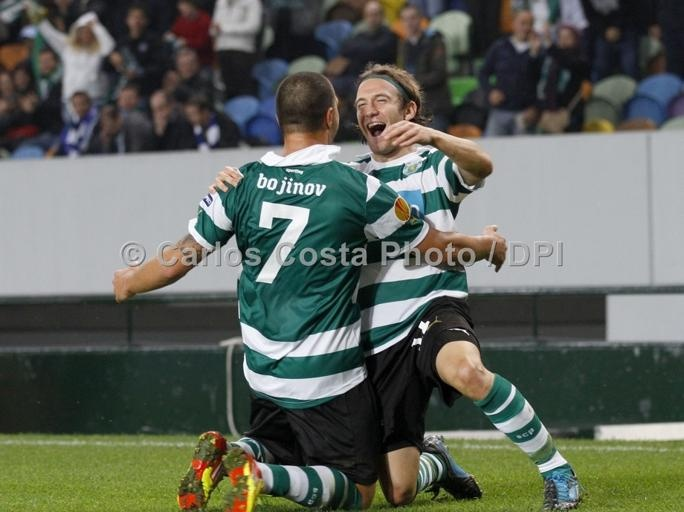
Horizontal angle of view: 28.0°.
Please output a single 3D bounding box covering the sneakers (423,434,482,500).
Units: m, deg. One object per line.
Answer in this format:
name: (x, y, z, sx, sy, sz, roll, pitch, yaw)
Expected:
sneakers: (0.790, 1.545, 9.900, 0.145, 0.426, 0.205, -49, -11, 34)
